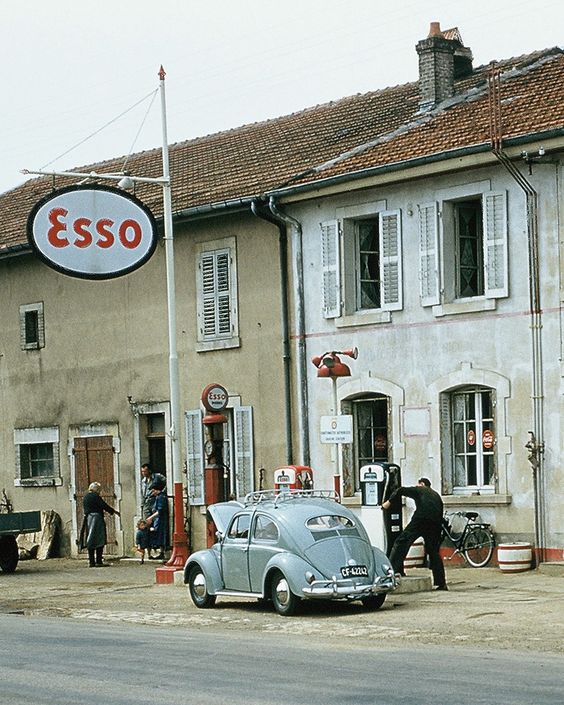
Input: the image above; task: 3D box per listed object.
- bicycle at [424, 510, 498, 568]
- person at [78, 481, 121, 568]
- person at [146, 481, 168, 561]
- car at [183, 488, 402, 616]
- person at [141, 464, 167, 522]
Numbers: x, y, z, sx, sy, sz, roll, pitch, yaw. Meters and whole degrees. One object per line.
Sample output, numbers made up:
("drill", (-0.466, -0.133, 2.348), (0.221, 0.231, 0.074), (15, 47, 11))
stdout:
("bicycle", (2.606, 2.605, 23.019), (0.520, 0.628, 0.879), (-3, -4, -30))
("person", (-3.121, 2.887, 27.559), (0.514, 1.408, 0.646), (-18, -21, 38))
("person", (-2.091, 2.832, 27.640), (0.328, 1.291, 0.792), (-3, -4, 3))
("car", (0.078, 2.281, 18.869), (1.207, 1.383, 2.423), (1, -7, -42))
("person", (-2.200, 2.466, 27.809), (0.430, 1.153, 0.317), (-10, -23, 12))
